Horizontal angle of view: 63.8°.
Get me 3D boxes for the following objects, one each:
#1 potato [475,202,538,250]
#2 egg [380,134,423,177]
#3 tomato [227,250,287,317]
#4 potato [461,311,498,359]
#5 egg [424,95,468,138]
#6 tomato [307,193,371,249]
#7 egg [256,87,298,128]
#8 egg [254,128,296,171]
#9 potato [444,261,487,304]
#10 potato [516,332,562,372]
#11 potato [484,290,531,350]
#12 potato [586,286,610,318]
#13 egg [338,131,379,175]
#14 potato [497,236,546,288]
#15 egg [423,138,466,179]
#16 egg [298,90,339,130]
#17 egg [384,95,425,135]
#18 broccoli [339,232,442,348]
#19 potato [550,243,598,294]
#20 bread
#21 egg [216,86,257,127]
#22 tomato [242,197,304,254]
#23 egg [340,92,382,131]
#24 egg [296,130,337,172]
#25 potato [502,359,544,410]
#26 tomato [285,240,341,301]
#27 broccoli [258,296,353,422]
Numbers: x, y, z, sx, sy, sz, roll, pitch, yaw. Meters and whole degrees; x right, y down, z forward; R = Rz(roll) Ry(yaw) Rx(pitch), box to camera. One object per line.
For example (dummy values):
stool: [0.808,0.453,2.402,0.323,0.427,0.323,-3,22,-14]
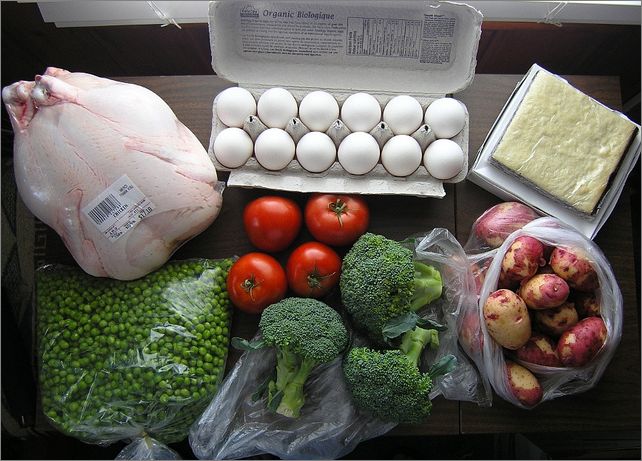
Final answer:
potato: [0.506,-0.012,1.476,0.185,0.151,0.124,-15,92,17]
egg: [0.217,-0.206,1.381,0.095,0.103,0.129,1,90,12]
tomato: [-0.154,0.142,1.444,0.122,0.136,0.141,-7,65,-34]
potato: [0.420,0.272,1.393,0.076,0.061,0.114,7,107,33]
egg: [0.340,-0.310,1.395,0.092,0.118,0.106,-2,56,5]
tomato: [0.043,-0.036,1.455,0.138,0.105,0.150,15,71,4]
egg: [-0.094,-0.335,1.433,0.091,0.093,0.119,-3,105,22]
egg: [-0.125,-0.224,1.434,0.099,0.102,0.132,1,94,12]
potato: [0.403,0.138,1.415,0.111,0.045,0.095,-21,92,28]
potato: [0.574,0.324,1.359,0.099,0.059,0.075,42,109,-9]
potato: [0.479,0.226,1.367,0.100,0.109,0.156,-17,90,14]
potato: [0.737,0.192,1.375,0.046,0.037,0.069,-1,99,-12]
egg: [0.111,-0.208,1.374,0.097,0.105,0.130,1,96,14]
potato: [0.527,0.077,1.394,0.098,0.076,0.135,27,108,-22]
egg: [0.330,-0.193,1.393,0.095,0.102,0.128,1,91,10]
egg: [0.000,-0.336,1.456,0.095,0.121,0.102,7,45,7]
egg: [0.229,-0.319,1.459,0.098,0.100,0.130,1,94,23]
broccoli: [0.163,0.146,1.489,0.297,0.288,0.318,-12,87,1]
potato: [0.665,0.101,1.394,0.130,0.078,0.083,38,109,8]
bread: [0.675,-0.245,1.415,0.323,0.155,0.301,28,69,16]
egg: [-0.234,-0.338,1.424,0.083,0.082,0.099,39,116,22]
tomato: [-0.141,-0.032,1.474,0.158,0.180,0.174,-7,104,-15]
egg: [0.110,-0.325,1.452,0.096,0.118,0.104,15,72,8]
egg: [-0.013,-0.213,1.400,0.108,0.091,0.082,-7,63,0]
potato: [0.538,0.405,1.411,0.070,0.069,0.127,-36,85,5]
tomato: [-0.021,0.114,1.449,0.157,0.167,0.183,-11,114,-1]
broccoli: [-0.064,0.364,1.428,0.246,0.262,0.334,1,105,-31]
